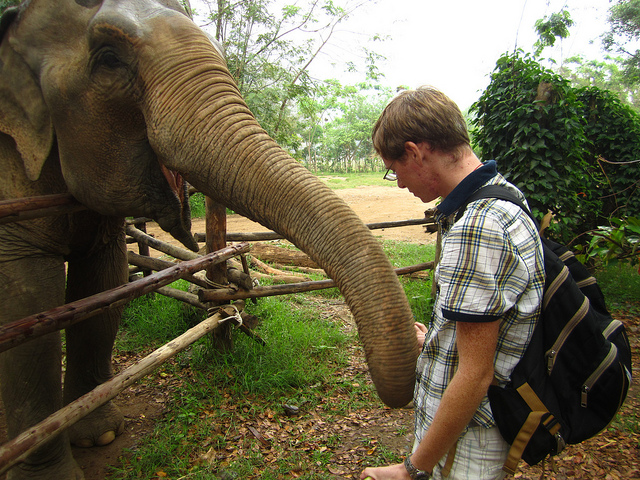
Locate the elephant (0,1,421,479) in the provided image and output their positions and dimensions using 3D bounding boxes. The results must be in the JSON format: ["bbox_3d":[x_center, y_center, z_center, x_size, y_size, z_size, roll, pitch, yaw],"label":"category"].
[{"bbox_3d":[-0.900,-0.433,3.452,3.857,2.817,1.579,2,10,19],"label":"elephant"}]

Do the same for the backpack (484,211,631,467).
[{"bbox_3d":[0.975,0.489,1.802,0.640,0.949,0.326,2,7,6],"label":"backpack"}]
